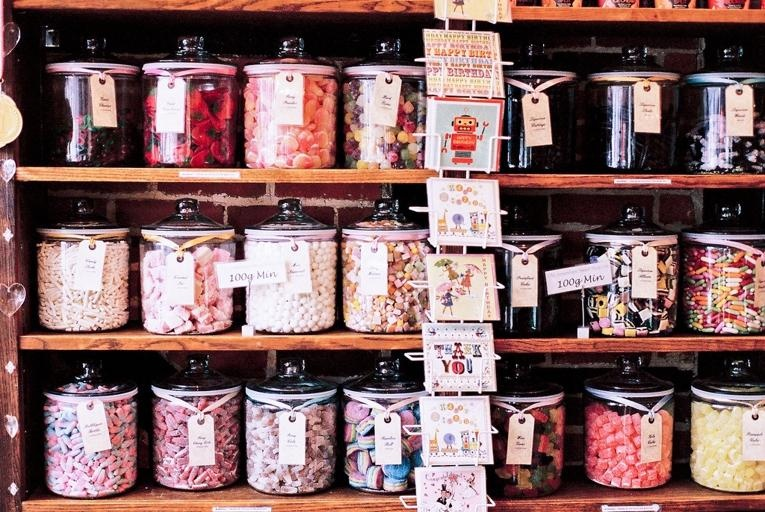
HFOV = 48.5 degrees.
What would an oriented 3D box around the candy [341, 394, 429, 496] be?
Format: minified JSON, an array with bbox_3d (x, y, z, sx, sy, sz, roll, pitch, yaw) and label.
[{"bbox_3d":[0.082,0.596,2.801,0.346,0.314,0.317,-1,-1,11],"label":"candy"}]

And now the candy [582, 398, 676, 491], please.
[{"bbox_3d":[0.774,0.612,2.852,0.332,0.289,0.291,2,-2,-16],"label":"candy"}]

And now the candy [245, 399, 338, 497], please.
[{"bbox_3d":[-0.253,0.614,2.844,0.336,0.303,0.321,1,-1,16],"label":"candy"}]

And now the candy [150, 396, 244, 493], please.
[{"bbox_3d":[-0.598,0.607,2.898,0.335,0.310,0.318,0,0,25],"label":"candy"}]

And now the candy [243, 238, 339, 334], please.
[{"bbox_3d":[-0.358,0.092,2.818,0.344,0.300,0.311,-1,3,-17],"label":"candy"}]

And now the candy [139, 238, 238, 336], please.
[{"bbox_3d":[-0.621,0.087,2.710,0.349,0.319,0.323,0,2,17],"label":"candy"}]

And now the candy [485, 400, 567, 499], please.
[{"bbox_3d":[0.464,0.621,2.828,0.337,0.305,0.307,-1,-1,11],"label":"candy"}]

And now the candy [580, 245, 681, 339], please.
[{"bbox_3d":[0.801,0.104,2.723,0.334,0.295,0.312,0,0,-34],"label":"candy"}]

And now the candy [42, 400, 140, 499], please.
[{"bbox_3d":[-0.872,0.620,2.840,0.354,0.318,0.316,1,1,0],"label":"candy"}]

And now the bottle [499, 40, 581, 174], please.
[{"bbox_3d":[0.539,-0.507,2.833,0.322,0.394,0.292,-4,13,-2],"label":"bottle"}]

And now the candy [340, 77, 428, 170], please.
[{"bbox_3d":[0.005,-0.419,2.680,0.329,0.297,0.295,0,0,-2],"label":"candy"}]

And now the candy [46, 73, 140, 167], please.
[{"bbox_3d":[-0.883,-0.444,2.840,0.341,0.304,0.309,2,4,16],"label":"candy"}]

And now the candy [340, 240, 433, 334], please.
[{"bbox_3d":[0.024,0.098,2.696,0.337,0.302,0.299,-1,-1,-3],"label":"candy"}]

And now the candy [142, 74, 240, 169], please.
[{"bbox_3d":[-0.624,-0.426,2.821,0.341,0.306,0.305,0,1,-16],"label":"candy"}]

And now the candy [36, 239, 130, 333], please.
[{"bbox_3d":[-0.871,0.095,2.730,0.333,0.299,0.296,0,0,-6],"label":"candy"}]
